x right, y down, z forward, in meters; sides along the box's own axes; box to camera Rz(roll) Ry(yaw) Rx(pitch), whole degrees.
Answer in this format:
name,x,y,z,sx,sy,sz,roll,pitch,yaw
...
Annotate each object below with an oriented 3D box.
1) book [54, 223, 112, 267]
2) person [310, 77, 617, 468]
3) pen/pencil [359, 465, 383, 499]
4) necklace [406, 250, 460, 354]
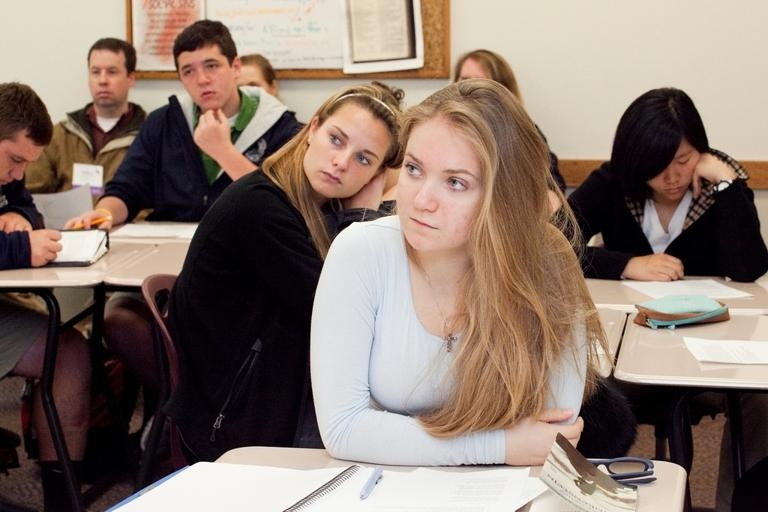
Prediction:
name,x,y,z,sx,sy,sz,roll,pitch,yaw
book,-1.248,-0.039,2.413,0.165,0.059,0.157,0,43,5
person,0.190,0.018,1.400,0.704,0.879,0.371,1,9,10
pen/pencil,-0.024,0.474,1.224,0.018,0.020,0.077,4,33,26
necklace,0.122,0.104,1.374,0.119,0.244,0.042,-7,-3,-1
